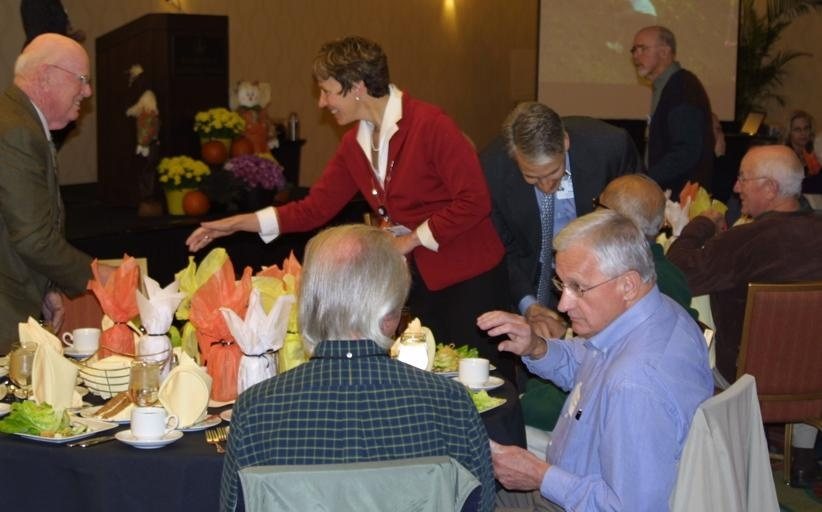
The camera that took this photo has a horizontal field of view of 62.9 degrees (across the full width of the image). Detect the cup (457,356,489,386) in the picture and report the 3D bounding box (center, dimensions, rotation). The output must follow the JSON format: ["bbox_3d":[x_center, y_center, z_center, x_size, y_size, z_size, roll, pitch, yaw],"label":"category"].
[{"bbox_3d":[0.258,0.475,2.764,0.106,0.087,0.107,1,-3,0],"label":"cup"}]

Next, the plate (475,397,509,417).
[{"bbox_3d":[0.313,0.575,2.571,0.078,0.019,0.061,-18,22,-11],"label":"plate"}]

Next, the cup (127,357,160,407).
[{"bbox_3d":[-0.979,0.475,2.491,0.116,0.169,0.121,1,4,0],"label":"cup"}]

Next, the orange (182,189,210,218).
[{"bbox_3d":[-1.498,-0.365,4.693,0.180,0.187,0.174,1,-16,-15],"label":"orange"}]

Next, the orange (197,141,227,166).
[{"bbox_3d":[-1.485,-0.782,5.060,0.173,0.171,0.179,0,-34,-1],"label":"orange"}]

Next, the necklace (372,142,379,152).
[{"bbox_3d":[-0.186,-0.575,3.532,0.037,0.043,0.043,-9,45,-5],"label":"necklace"}]

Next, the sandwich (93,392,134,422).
[{"bbox_3d":[-1.103,0.562,2.495,0.106,0.036,0.105,-34,19,-19],"label":"sandwich"}]

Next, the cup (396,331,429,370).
[{"bbox_3d":[0.012,0.371,2.651,0.130,0.233,0.125,0,-10,0],"label":"cup"}]

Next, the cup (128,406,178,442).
[{"bbox_3d":[-0.902,0.593,2.356,0.159,0.097,0.113,9,-4,-16],"label":"cup"}]

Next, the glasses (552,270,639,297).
[{"bbox_3d":[0.644,0.098,2.470,0.135,0.037,0.131,-21,4,-9],"label":"glasses"}]

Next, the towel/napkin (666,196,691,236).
[{"bbox_3d":[1.665,-0.250,4.182,0.215,0.264,0.076,-2,3,4],"label":"towel/napkin"}]

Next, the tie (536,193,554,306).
[{"bbox_3d":[0.758,-0.032,3.809,0.072,0.779,0.092,-27,40,-26],"label":"tie"}]

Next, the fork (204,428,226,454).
[{"bbox_3d":[-0.669,0.641,2.328,0.044,0.016,0.106,-6,22,-17],"label":"fork"}]

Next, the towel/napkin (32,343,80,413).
[{"bbox_3d":[-1.349,0.454,2.512,0.139,0.247,0.131,-9,-16,-2],"label":"towel/napkin"}]

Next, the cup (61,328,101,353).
[{"bbox_3d":[-1.480,0.384,3.024,0.129,0.089,0.099,-4,8,-18],"label":"cup"}]

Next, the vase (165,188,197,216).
[{"bbox_3d":[-1.655,-0.388,4.825,0.181,0.162,0.196,-1,0,-14],"label":"vase"}]

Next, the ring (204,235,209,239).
[{"bbox_3d":[-1.043,-0.099,3.433,0.021,0.012,0.014,-2,0,-38],"label":"ring"}]

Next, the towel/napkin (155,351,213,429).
[{"bbox_3d":[-0.810,0.489,2.425,0.151,0.246,0.095,-4,-8,-5],"label":"towel/napkin"}]
